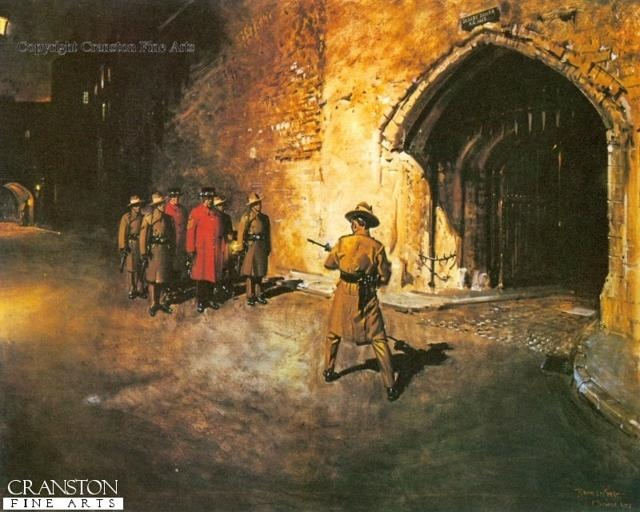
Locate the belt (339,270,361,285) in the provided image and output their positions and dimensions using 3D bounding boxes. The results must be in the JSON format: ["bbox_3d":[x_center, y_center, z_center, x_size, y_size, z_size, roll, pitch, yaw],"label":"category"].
[{"bbox_3d":[0.420,0.293,8.876,0.164,0.115,0.209,4,5,-45],"label":"belt"}]

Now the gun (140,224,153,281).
[{"bbox_3d":[-2.967,-0.112,11.171,0.188,1.071,0.428,3,7,8],"label":"gun"}]

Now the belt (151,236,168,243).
[{"bbox_3d":[-2.793,-0.279,11.087,0.304,0.140,0.073,2,0,-23],"label":"belt"}]

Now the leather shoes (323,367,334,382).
[{"bbox_3d":[0.130,1.693,9.140,0.174,0.197,0.179,0,-15,1],"label":"leather shoes"}]

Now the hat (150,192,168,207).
[{"bbox_3d":[-2.835,-1.017,11.258,0.245,0.234,0.592,2,1,-15],"label":"hat"}]

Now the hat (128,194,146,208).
[{"bbox_3d":[-3.499,-1.005,11.993,0.407,0.169,0.381,-13,-2,41],"label":"hat"}]

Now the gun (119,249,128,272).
[{"bbox_3d":[-3.944,0.085,12.850,0.129,0.494,0.269,6,23,-6],"label":"gun"}]

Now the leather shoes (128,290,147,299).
[{"bbox_3d":[-3.427,0.722,12.006,0.301,0.138,0.181,2,-6,-11],"label":"leather shoes"}]

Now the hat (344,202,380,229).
[{"bbox_3d":[0.645,-0.675,9.043,0.424,0.172,0.368,43,-42,-17],"label":"hat"}]

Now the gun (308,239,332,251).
[{"bbox_3d":[0.019,-0.238,12.629,0.452,0.177,0.138,17,7,31],"label":"gun"}]

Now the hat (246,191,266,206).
[{"bbox_3d":[-1.189,-1.007,11.802,0.438,0.192,0.489,-27,3,1],"label":"hat"}]
